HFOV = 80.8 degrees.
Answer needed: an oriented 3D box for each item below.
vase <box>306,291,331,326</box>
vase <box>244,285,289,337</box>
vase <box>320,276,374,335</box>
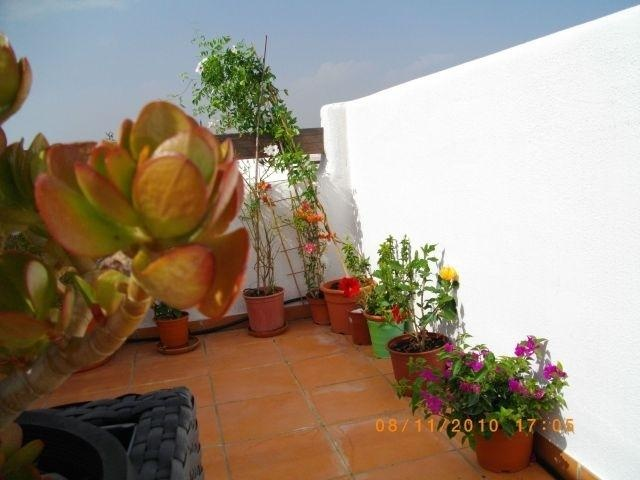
[{"bbox_3d":[-0.011,0.745,4.228,0.314,0.290,0.320,-9,10,-36],"label":"vase"},{"bbox_3d":[-0.612,0.754,4.076,0.497,0.405,0.452,-8,8,-27],"label":"vase"},{"bbox_3d":[0.253,0.673,3.767,0.553,0.451,0.559,-1,4,1],"label":"vase"}]
